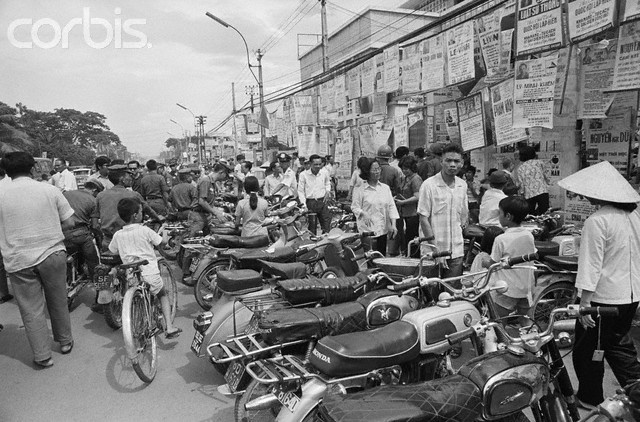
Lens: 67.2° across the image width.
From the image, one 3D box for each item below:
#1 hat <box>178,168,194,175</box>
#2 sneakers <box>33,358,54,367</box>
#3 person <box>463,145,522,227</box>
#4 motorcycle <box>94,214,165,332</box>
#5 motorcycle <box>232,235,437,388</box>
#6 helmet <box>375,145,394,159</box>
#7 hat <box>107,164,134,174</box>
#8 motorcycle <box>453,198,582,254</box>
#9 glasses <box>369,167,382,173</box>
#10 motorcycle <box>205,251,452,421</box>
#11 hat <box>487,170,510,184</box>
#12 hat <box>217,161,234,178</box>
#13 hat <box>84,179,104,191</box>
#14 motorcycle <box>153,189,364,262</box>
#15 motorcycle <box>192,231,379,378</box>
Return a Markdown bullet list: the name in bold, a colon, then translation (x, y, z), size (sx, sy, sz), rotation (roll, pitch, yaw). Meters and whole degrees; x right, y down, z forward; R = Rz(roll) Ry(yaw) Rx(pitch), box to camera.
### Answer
- **hat**: translation (-2.863, -0.851, 10.211), size (0.328, 0.162, 0.399), rotation (2, 5, 1)
- **sneakers**: translation (-3.595, 1.974, 6.277), size (0.244, 0.104, 0.105), rotation (3, 8, 9)
- **person**: translation (2.931, -0.347, 8.458), size (0.833, 0.943, 1.608), rotation (1, 8, 29)
- **motorcycle**: translation (-2.807, 0.924, 7.093), size (0.734, 0.830, 1.272), rotation (-12, 22, 5)
- **motorcycle**: translation (0.133, 1.045, 5.040), size (1.930, 1.192, 1.173), rotation (-8, 10, -27)
- **helmet**: translation (1.219, -1.127, 9.207), size (0.267, 0.262, 0.427), rotation (-3, 7, 7)
- **hat**: translation (-3.389, -0.712, 8.114), size (0.410, 0.128, 0.438), rotation (-3, 14, -35)
- **motorcycle**: translation (3.100, 0.315, 7.468), size (1.430, 0.881, 0.814), rotation (-5, 17, -5)
- **glasses**: translation (0.882, -0.635, 7.554), size (0.217, 0.105, 0.109), rotation (-9, 9, -35)
- **motorcycle**: translation (0.072, 1.150, 5.206), size (2.253, 1.308, 1.372), rotation (-9, 12, -30)
- **hat**: translation (2.883, -0.543, 7.784), size (0.280, 0.214, 0.227), rotation (-4, 7, 0)
- **hat**: translation (-2.047, -0.904, 10.474), size (0.283, 0.090, 0.281), rotation (19, -10, -33)
- **hat**: translation (-4.310, -0.510, 9.073), size (0.301, 0.117, 0.284), rotation (14, 7, 42)
- **motorcycle**: translation (-1.013, 0.485, 8.090), size (2.921, 1.732, 1.420), rotation (-9, 7, -30)
- **motorcycle**: translation (-0.370, 1.046, 6.292), size (2.625, 1.594, 1.322), rotation (-13, 14, -32)
